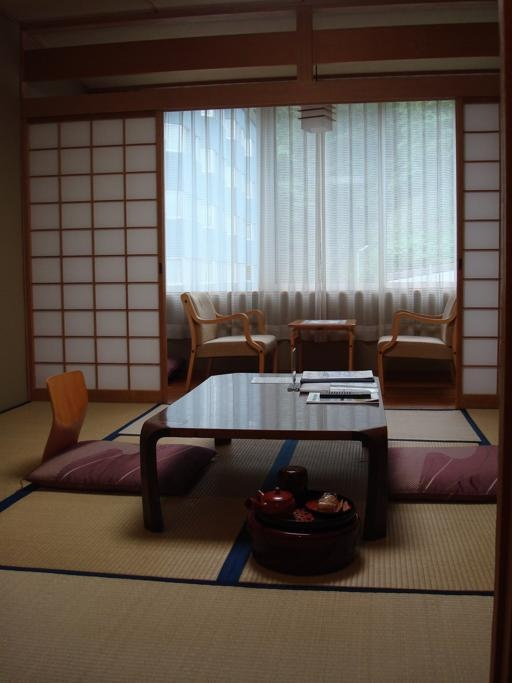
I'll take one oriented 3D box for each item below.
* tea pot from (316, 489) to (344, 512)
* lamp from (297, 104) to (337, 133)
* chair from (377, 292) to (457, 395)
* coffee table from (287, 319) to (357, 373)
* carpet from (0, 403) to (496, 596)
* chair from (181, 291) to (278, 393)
[{"bbox_3d":[0.224,0.472,1.595,0.068,0.038,0.167,-1,4,10],"label":"tea pot"},{"bbox_3d":[0.492,-1.768,4.321,0.238,0.245,0.235,-4,8,-28],"label":"lamp"},{"bbox_3d":[1.323,-0.011,4.485,0.852,0.994,0.741,1,3,10],"label":"chair"},{"bbox_3d":[0.593,0.058,4.734,0.628,0.531,0.623,3,14,24],"label":"coffee table"},{"bbox_3d":[-0.023,0.591,1.966,1.723,0.027,1.134,-1,4,10],"label":"carpet"},{"bbox_3d":[-0.206,-0.021,4.687,0.734,0.790,0.629,0,5,13],"label":"chair"}]
